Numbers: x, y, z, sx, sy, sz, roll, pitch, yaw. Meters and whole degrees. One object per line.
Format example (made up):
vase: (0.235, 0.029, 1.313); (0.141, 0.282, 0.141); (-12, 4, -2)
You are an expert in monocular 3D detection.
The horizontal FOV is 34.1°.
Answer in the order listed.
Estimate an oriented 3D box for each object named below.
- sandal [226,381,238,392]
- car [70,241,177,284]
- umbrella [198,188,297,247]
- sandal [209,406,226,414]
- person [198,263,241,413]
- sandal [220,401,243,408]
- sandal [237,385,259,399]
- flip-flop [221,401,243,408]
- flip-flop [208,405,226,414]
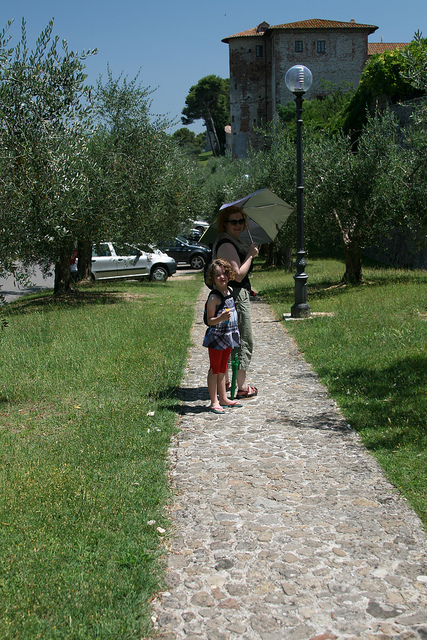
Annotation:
sandal: (0.169, 0.637, 6.631); (0.103, 0.111, 0.283); (0, -6, -4)
car: (-2.313, -1.758, 21.107); (2.509, 0.882, 1.147); (-5, 7, -25)
umbrella: (0.362, -1.025, 7.016); (0.557, 0.554, 1.338); (4, 11, 33)
sandal: (0.025, 0.796, 6.121); (0.123, 0.047, 0.042); (2, 3, 33)
person: (0.064, 0.153, 6.134); (0.315, 1.322, 0.404); (-1, 9, 2)
sandal: (0.175, 0.763, 6.305); (0.160, 0.046, 0.062); (-2, -3, -2)
sandal: (0.326, 0.686, 6.667); (0.177, 0.070, 0.092); (-6, 5, -19)
flip-flop: (0.176, 0.765, 6.303); (0.135, 0.042, 0.052); (-2, -3, -4)
flip-flop: (0.026, 0.788, 6.120); (0.139, 0.053, 0.047); (0, 0, 23)
